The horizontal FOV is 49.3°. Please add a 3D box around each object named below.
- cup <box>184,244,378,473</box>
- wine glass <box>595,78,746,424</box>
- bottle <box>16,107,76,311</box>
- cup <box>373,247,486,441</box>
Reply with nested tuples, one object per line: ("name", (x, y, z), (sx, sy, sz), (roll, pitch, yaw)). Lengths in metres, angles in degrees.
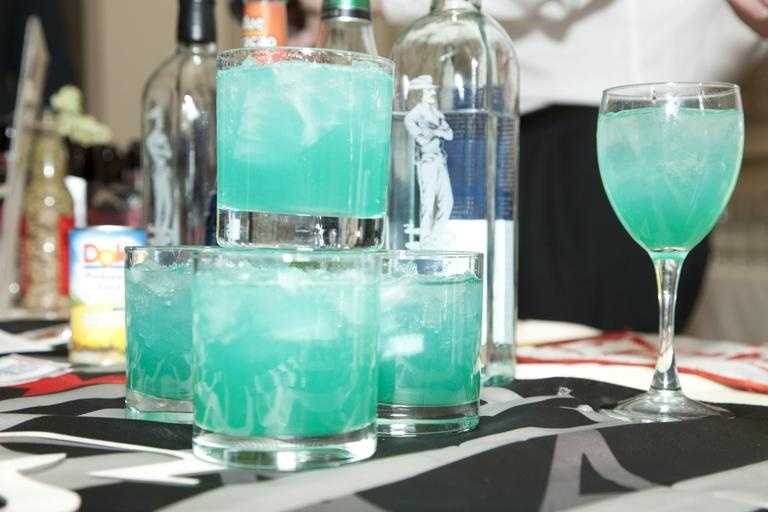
("cup", (-0.088, 0.101, 0.869), (0.209, 0.213, 0.199), (1, 3, 0))
("wine glass", (0.309, -0.014, 0.918), (0.168, 0.347, 0.202), (-2, 10, -8))
("bottle", (-0.540, -0.066, 1.333), (0.082, 0.324, 0.089), (0, 10, 0))
("cup", (0.047, 0.087, 0.851), (0.105, 0.183, 0.058), (0, 10, 2))
